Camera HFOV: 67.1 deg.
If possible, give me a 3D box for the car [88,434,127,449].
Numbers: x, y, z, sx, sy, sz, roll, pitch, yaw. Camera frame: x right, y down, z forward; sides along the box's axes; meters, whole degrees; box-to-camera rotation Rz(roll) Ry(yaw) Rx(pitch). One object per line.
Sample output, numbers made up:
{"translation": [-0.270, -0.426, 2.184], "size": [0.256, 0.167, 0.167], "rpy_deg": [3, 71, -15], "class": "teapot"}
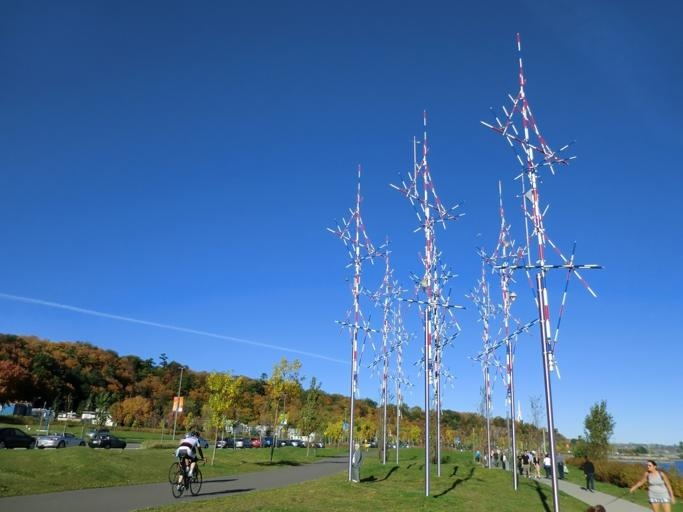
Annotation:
{"translation": [-23.437, 18.414, 51.406], "size": [2.601, 1.313, 3.170], "rpy_deg": [-1, -24, 16], "class": "car"}
